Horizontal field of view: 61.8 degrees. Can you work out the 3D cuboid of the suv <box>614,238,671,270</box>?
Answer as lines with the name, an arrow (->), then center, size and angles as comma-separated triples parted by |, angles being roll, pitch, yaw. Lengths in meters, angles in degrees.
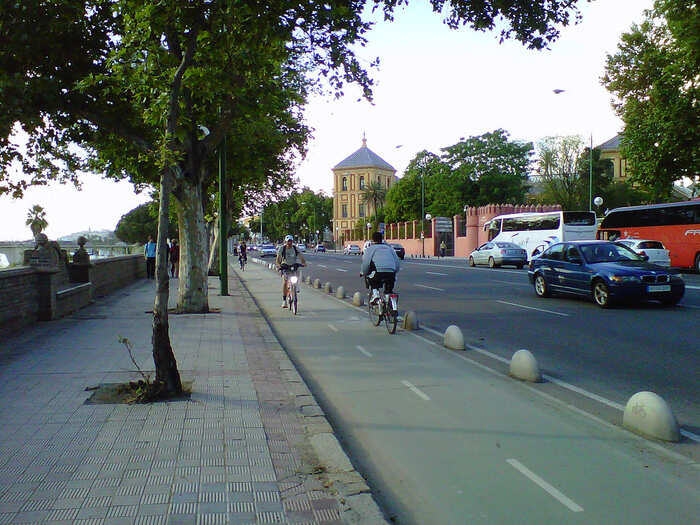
suv -> 10.479, -0.312, 20.917 | 0.997, 0.861, 1.845 | -1, 10, -2

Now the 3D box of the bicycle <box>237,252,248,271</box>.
bicycle -> -7.287, -0.084, 39.439 | 0.844, 1.241, 1.854 | -1, 6, -14

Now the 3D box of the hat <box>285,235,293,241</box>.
hat -> -1.525, -0.623, 14.553 | 0.149, 0.129, 0.265 | 2, -5, -4

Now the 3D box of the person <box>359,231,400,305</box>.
person -> 0.600, 0.152, 12.010 | 0.765, 1.548, 0.967 | 1, 6, 1

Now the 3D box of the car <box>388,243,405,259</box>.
car -> 3.322, -0.998, 40.164 | 1.324, 1.144, 3.145 | 1, 9, 3

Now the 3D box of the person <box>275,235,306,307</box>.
person -> -1.678, 0.122, 15.601 | 0.924, 1.295, 1.906 | 0, 0, -7

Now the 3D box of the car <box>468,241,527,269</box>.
car -> 9.062, -0.471, 36.194 | 1.597, 1.652, 3.643 | -2, 7, -26

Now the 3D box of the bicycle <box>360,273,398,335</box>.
bicycle -> 0.604, 0.930, 11.954 | 0.551, 0.780, 1.217 | -2, 8, -6

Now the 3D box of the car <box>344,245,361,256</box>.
car -> 0.341, -1.651, 73.410 | 1.021, 0.888, 2.395 | 0, 9, -7

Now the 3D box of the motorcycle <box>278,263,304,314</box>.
motorcycle -> -1.506, 0.633, 15.409 | 0.576, 0.843, 1.264 | 0, 2, -12

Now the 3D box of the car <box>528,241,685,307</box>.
car -> 6.804, 0.359, 15.891 | 1.571, 1.743, 3.794 | -1, 7, -19
